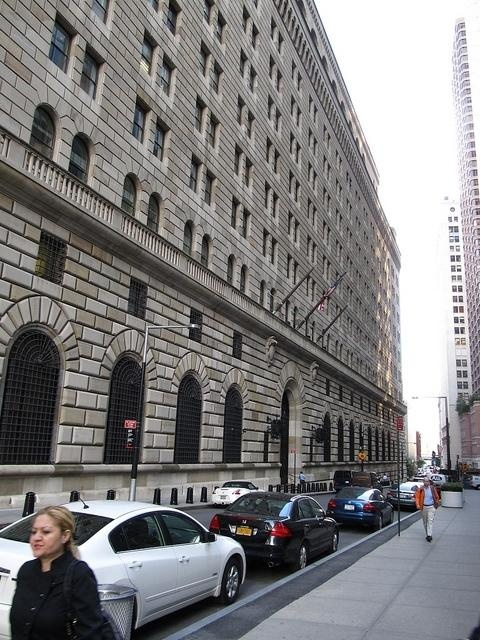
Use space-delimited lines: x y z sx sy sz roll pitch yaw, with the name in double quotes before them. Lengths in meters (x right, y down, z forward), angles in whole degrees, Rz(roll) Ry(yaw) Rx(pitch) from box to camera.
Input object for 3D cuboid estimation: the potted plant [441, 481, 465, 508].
"potted plant" 14.148 11.969 28.425 1.172 2.139 1.648 -7 -16 31
